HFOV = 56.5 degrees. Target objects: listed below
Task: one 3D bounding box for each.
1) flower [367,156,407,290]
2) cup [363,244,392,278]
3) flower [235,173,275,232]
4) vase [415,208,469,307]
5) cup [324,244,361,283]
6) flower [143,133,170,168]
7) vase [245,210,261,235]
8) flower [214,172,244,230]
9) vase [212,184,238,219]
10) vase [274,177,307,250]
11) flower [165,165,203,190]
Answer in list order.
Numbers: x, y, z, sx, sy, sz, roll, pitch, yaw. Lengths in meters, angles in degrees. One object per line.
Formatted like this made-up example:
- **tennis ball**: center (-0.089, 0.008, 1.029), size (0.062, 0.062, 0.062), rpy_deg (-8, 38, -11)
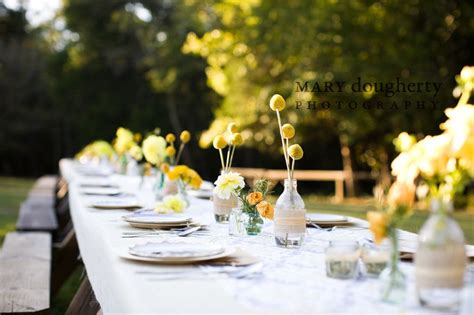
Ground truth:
- **flower**: center (0.482, 0.266, 1.389), size (0.138, 0.375, 0.138), rpy_deg (2, -6, -1)
- **cup**: center (0.479, 0.355, 1.542), size (0.110, 0.120, 0.095), rpy_deg (-1, -2, 19)
- **flower**: center (0.078, 0.225, 2.178), size (0.218, 0.292, 0.236), rpy_deg (4, -5, -5)
- **vase**: center (0.614, 0.313, 1.355), size (0.138, 0.301, 0.118), rpy_deg (0, 0, 28)
- **cup**: center (0.361, 0.362, 1.552), size (0.117, 0.130, 0.125), rpy_deg (1, -4, 0)
- **flower**: center (-0.700, -0.088, 3.675), size (0.201, 0.055, 0.231), rpy_deg (15, -45, -9)
- **vase**: center (0.086, 0.344, 2.240), size (0.096, 0.130, 0.103), rpy_deg (-3, -6, 26)
- **flower**: center (-0.051, 0.219, 2.332), size (0.164, 0.252, 0.176), rpy_deg (-5, -5, 25)
- **vase**: center (-0.080, 0.288, 2.557), size (0.138, 0.165, 0.153), rpy_deg (1, -3, -1)
- **vase**: center (0.228, 0.249, 1.990), size (0.146, 0.298, 0.145), rpy_deg (-3, 7, -22)
- **flower**: center (-0.371, 0.192, 2.978), size (0.195, 0.140, 0.192), rpy_deg (17, 10, -36)
